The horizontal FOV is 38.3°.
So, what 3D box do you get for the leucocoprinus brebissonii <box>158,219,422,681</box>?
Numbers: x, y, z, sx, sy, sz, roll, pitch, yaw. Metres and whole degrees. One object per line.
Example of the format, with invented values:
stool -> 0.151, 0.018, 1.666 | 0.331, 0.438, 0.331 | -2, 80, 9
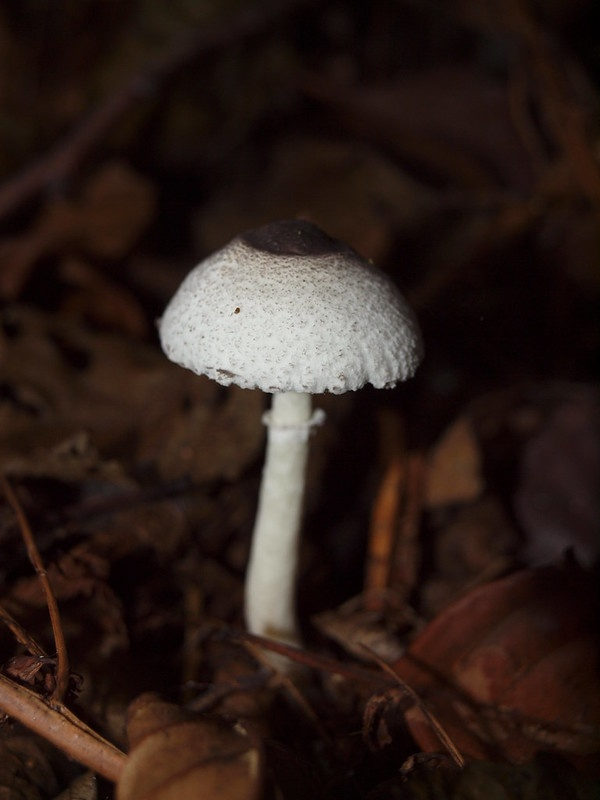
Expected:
leucocoprinus brebissonii -> -0.007, 0.133, 2.124 | 0.664, 0.541, 0.956 | 6, 103, 8
